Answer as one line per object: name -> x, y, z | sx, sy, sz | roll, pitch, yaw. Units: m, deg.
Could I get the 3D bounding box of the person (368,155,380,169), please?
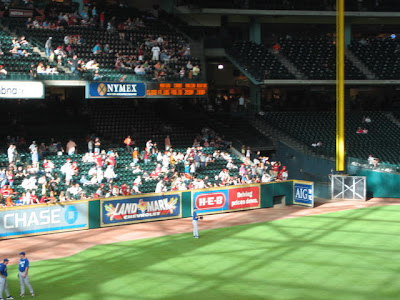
person -> 12.393, 0.834, 43.498 | 0.959, 0.542, 1.262 | 16, 11, 4

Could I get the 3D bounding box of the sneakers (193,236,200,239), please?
sneakers -> -0.247, 4.718, 33.013 | 0.363, 0.134, 0.112 | -3, 18, -4

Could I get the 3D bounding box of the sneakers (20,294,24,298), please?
sneakers -> -7.766, 6.317, 26.244 | 0.228, 0.085, 0.095 | 7, 1, -37
